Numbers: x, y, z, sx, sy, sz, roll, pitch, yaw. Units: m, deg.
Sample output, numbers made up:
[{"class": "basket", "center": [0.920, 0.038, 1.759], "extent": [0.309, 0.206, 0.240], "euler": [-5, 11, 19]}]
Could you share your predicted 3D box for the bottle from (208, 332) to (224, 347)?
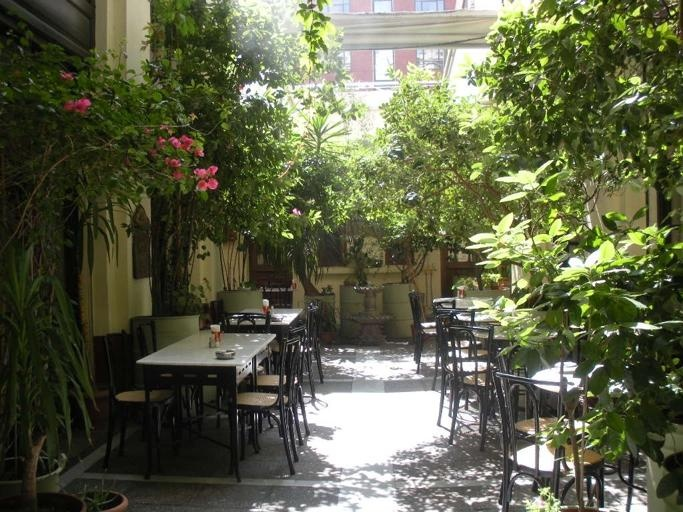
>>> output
[{"class": "bottle", "center": [-1.074, 0.702, 4.995], "extent": [0.123, 0.163, 0.132], "euler": [1, 5, 0]}]

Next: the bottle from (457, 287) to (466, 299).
[{"class": "bottle", "center": [1.760, 0.537, 8.711], "extent": [0.103, 0.189, 0.175], "euler": [0, 2, 6]}]
